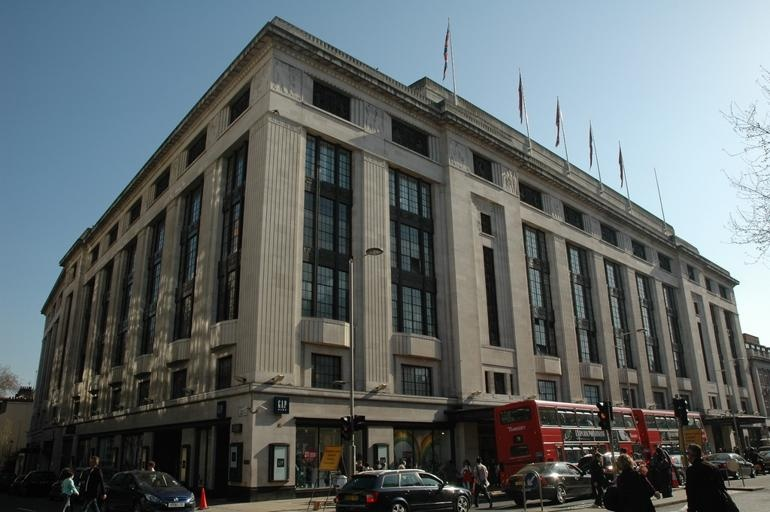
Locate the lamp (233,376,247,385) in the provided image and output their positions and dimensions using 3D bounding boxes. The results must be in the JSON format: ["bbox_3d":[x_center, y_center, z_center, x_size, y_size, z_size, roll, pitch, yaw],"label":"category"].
[{"bbox_3d":[-9.647,8.301,33.980,0.519,0.275,0.738,-1,-19,38],"label":"lamp"}]

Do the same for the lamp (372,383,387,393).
[{"bbox_3d":[-0.425,9.682,37.486,0.710,0.201,0.724,-32,-31,31],"label":"lamp"}]

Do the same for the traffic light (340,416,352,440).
[{"bbox_3d":[-2.228,10.095,30.073,0.577,1.226,0.644,3,-26,-15],"label":"traffic light"}]
